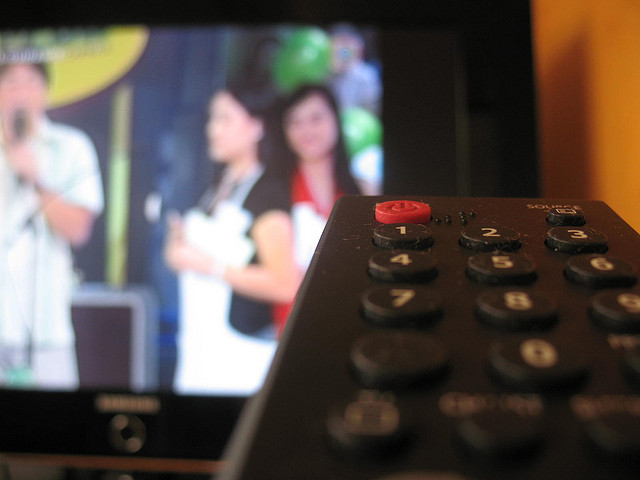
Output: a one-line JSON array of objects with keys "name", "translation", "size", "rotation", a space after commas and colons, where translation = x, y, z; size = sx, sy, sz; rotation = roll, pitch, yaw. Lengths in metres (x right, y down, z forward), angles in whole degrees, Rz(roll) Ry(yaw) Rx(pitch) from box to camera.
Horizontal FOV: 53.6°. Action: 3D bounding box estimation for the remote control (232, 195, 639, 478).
[{"name": "remote control", "translation": [0.096, 0.047, 0.416], "size": [0.220, 0.106, 0.257], "rotation": [2, 18, 15]}]
